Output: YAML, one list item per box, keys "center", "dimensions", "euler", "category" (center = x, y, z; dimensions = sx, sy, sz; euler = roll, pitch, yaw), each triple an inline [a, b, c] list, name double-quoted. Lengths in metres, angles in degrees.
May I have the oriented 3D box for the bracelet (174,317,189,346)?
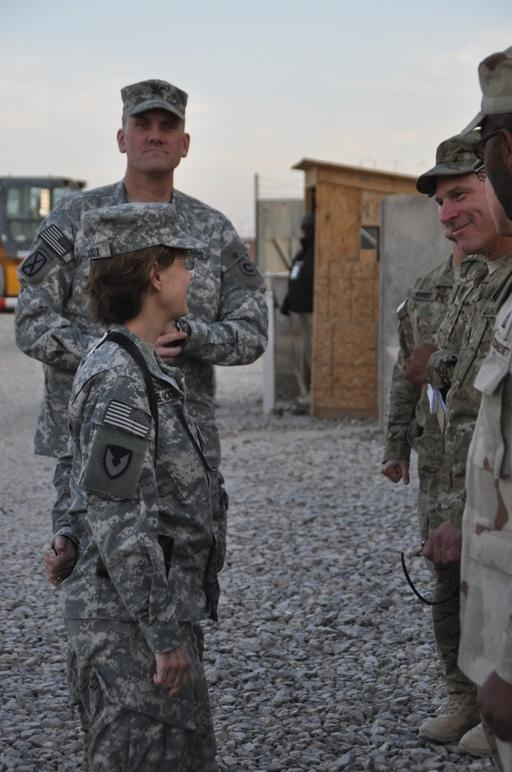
- center: [-0.195, -0.155, 2.930]
  dimensions: [0.028, 0.066, 0.055]
  euler: [9, -2, -44]
  category: "bracelet"

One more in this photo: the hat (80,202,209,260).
- center: [-0.263, -0.362, 2.441]
  dimensions: [0.308, 0.105, 0.190]
  euler: [-4, 6, -18]
  category: "hat"

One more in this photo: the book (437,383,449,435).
- center: [0.526, 0.073, 2.932]
  dimensions: [0.030, 0.125, 0.136]
  euler: [-3, 8, 10]
  category: "book"
